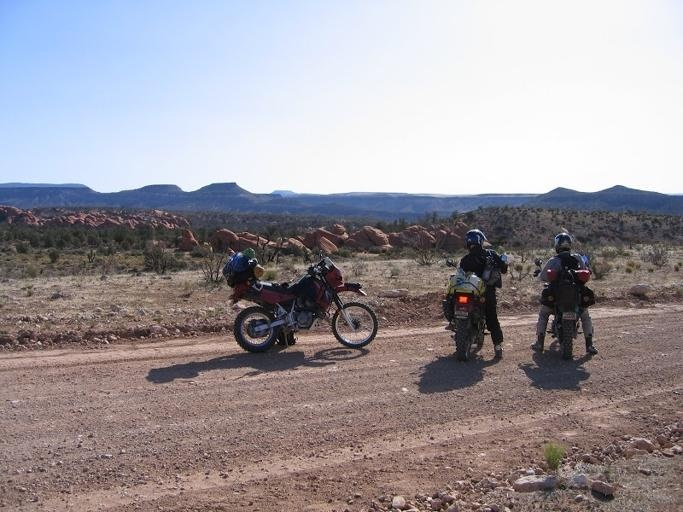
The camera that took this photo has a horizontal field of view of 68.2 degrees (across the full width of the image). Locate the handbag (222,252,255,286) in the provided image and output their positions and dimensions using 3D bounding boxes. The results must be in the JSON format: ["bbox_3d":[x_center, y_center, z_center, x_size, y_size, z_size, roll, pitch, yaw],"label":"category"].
[{"bbox_3d":[-1.883,0.148,9.393,0.648,0.690,0.579,3,2,-16],"label":"handbag"}]

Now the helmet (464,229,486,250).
[{"bbox_3d":[2.410,-0.337,9.295,0.320,0.443,0.425,6,12,37],"label":"helmet"}]

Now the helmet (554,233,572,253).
[{"bbox_3d":[3.949,-0.264,9.053,0.292,0.401,0.387,5,16,10],"label":"helmet"}]

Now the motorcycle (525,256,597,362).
[{"bbox_3d":[3.948,0.808,8.824,0.892,1.753,0.897,-4,9,-24],"label":"motorcycle"}]

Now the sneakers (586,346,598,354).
[{"bbox_3d":[4.325,1.604,8.687,0.159,0.163,0.100,-11,26,-6],"label":"sneakers"}]

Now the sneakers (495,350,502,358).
[{"bbox_3d":[2.713,1.661,8.685,0.126,0.117,0.187,2,22,16],"label":"sneakers"}]

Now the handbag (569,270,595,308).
[{"bbox_3d":[4.252,0.508,8.754,0.312,0.429,0.676,-4,-3,14],"label":"handbag"}]

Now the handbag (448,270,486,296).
[{"bbox_3d":[2.114,0.463,8.510,0.565,0.351,0.337,0,8,5],"label":"handbag"}]
